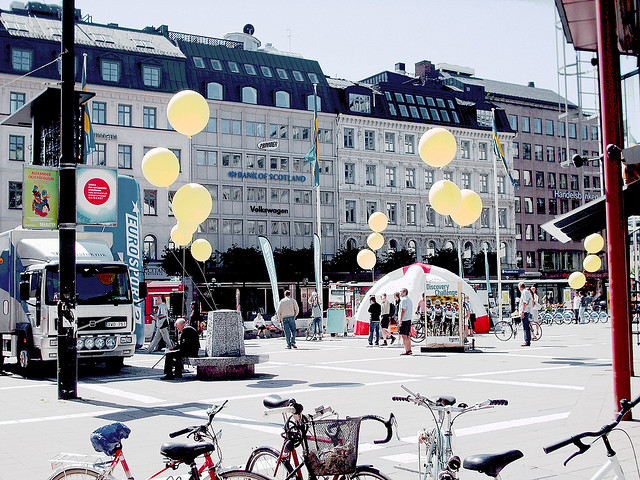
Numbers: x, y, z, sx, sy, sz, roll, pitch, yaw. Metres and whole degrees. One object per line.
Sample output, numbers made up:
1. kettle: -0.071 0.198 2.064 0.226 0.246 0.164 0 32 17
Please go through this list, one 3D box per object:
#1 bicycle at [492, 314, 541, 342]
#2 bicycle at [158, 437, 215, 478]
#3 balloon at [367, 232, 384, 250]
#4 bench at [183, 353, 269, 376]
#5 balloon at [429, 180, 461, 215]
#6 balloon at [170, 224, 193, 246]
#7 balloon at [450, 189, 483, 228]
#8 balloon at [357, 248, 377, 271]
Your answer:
1. bicycle: 7.459 3.476 35.388 2.089 1.597 1.122 -2 -5 21
2. bicycle: -1.508 2.572 10.487 0.606 0.430 0.338 -1 -6 -4
3. balloon: 2.028 0.024 34.554 0.327 0.677 0.620 10 -11 39
4. bench: -2.248 3.028 21.735 1.752 0.485 0.672 -1 -7 -2
5. balloon: 3.272 -1.138 23.809 0.756 1.039 0.824 -4 4 8
6. balloon: -4.163 -0.045 27.226 0.608 0.838 0.663 -6 5 4
7. balloon: 3.930 -0.822 24.270 0.808 1.121 0.888 -1 4 6
8. balloon: 1.738 0.688 35.196 0.713 0.816 0.497 -14 35 -20
